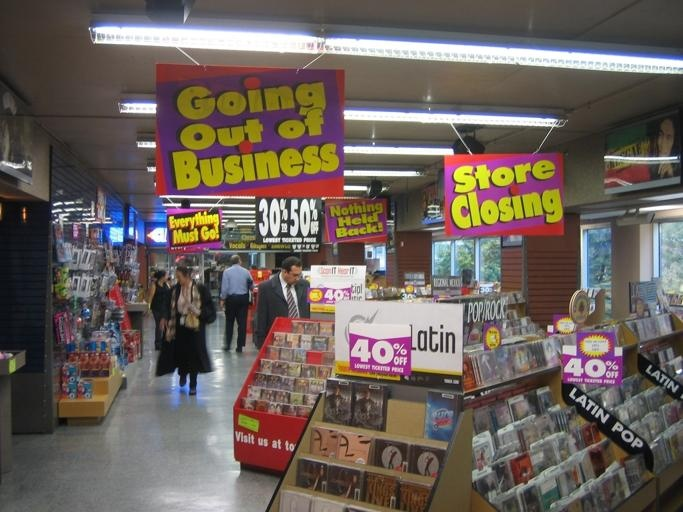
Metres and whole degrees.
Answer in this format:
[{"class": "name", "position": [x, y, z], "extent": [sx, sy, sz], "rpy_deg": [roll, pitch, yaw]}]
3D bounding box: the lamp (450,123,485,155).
[{"class": "lamp", "position": [1.792, -1.630, 7.642], "extent": [0.453, 0.596, 0.490], "rpy_deg": [-7, 10, -35]}]

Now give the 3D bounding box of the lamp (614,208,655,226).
[{"class": "lamp", "position": [4.946, -0.637, 9.067], "extent": [0.369, 0.334, 0.428], "rpy_deg": [4, -2, -32]}]

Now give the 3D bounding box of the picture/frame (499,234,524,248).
[{"class": "picture/frame", "position": [3.246, -0.278, 10.347], "extent": [0.084, 0.397, 0.373], "rpy_deg": [-2, 6, -37]}]

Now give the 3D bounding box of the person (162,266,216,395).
[{"class": "person", "position": [-2.239, 1.076, 7.898], "extent": [0.794, 2.008, 0.638], "rpy_deg": [-1, 0, 13]}]

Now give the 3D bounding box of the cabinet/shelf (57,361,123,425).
[{"class": "cabinet/shelf", "position": [-3.386, 1.864, 7.226], "extent": [0.559, 0.759, 1.269], "rpy_deg": [-2, 1, -13]}]

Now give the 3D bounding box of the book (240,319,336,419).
[{"class": "book", "position": [-0.484, 1.121, 5.480], "extent": [0.753, 0.955, 0.315], "rpy_deg": [3, -24, 30]}]
